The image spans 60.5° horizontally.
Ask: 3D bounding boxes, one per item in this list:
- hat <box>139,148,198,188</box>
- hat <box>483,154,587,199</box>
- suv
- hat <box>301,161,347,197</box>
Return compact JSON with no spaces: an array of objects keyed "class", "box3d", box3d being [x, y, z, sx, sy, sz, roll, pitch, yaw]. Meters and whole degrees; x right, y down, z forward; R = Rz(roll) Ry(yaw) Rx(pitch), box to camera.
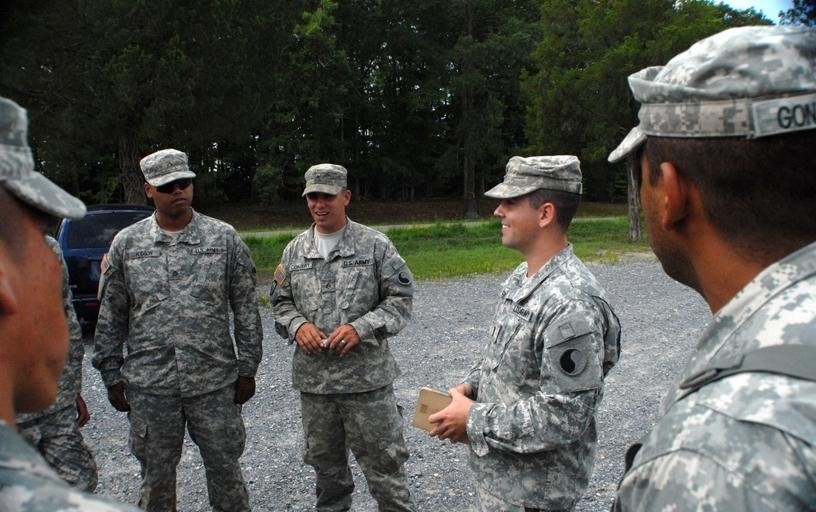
[{"class":"hat","box3d":[-1.635,-0.624,4.618,0.273,0.141,0.381,-16,19,-28]},{"class":"hat","box3d":[0.691,-0.426,3.708,0.389,0.142,0.269,-4,6,-8]},{"class":"suv","box3d":[-3.521,-0.057,8.284,1.010,0.946,2.141,-3,13,-15]},{"class":"hat","box3d":[-0.552,-0.531,4.839,0.216,0.145,0.285,-1,0,17]}]
